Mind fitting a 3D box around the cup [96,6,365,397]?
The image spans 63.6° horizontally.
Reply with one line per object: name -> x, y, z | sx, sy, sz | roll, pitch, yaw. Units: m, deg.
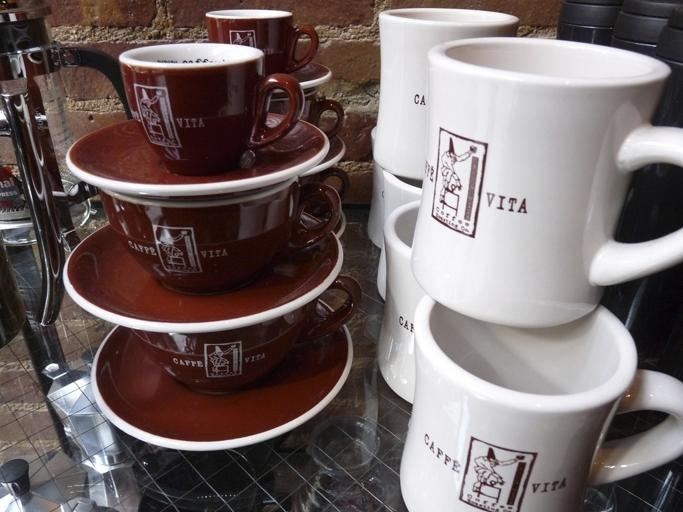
cup -> -0.090, -0.079, 0.518 | 0.300, 0.321, 0.180 | -11, 27, -26

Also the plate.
plate -> -0.062, 0.036, 0.501 | 0.249, 0.231, 0.245 | 1, 33, -5
